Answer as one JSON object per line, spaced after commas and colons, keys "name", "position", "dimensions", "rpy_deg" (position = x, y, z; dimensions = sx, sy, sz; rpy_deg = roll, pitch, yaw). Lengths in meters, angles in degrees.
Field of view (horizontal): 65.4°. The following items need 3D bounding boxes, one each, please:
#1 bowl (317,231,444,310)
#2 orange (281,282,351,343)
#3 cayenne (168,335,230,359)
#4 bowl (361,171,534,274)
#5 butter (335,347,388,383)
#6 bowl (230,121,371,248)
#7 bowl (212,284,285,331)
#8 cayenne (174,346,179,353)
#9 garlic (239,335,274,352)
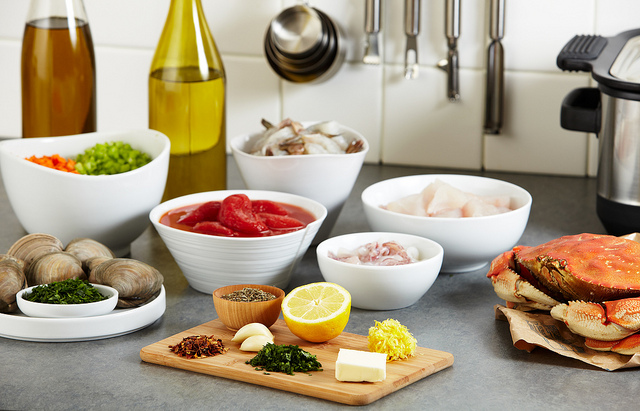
{"name": "bowl", "position": [0.106, 0.070, 0.802], "dimensions": [0.141, 0.068, 0.147], "rpy_deg": [0, 7, 0]}
{"name": "orange", "position": [-0.006, 0.146, 0.696], "dimensions": [0.077, 0.052, 0.080], "rpy_deg": [9, 41, 25]}
{"name": "cayenne", "position": [-0.162, 0.190, 0.666], "dimensions": [0.039, 0.009, 0.039], "rpy_deg": [3, 15, 7]}
{"name": "bowl", "position": [0.220, -0.018, 0.912], "dimensions": [0.225, 0.101, 0.235], "rpy_deg": [-1, 11, 0]}
{"name": "butter", "position": [0.053, 0.194, 0.617], "dimensions": [0.071, 0.030, 0.046], "rpy_deg": [-2, 22, -6]}
{"name": "bowl", "position": [-0.039, -0.072, 0.977], "dimensions": [0.268, 0.212, 0.245], "rpy_deg": [-2, 11, 0]}
{"name": "bowl", "position": [-0.107, 0.148, 0.732], "dimensions": [0.092, 0.044, 0.089], "rpy_deg": [4, 9, -1]}
{"name": "cayenne", "position": [-0.191, 0.194, 0.667], "dimensions": [0.003, 0.002, 0.007], "rpy_deg": [-13, 43, 48]}
{"name": "garlic", "position": [-0.088, 0.184, 0.664], "dimensions": [0.038, 0.015, 0.021], "rpy_deg": [-1, 28, 6]}
